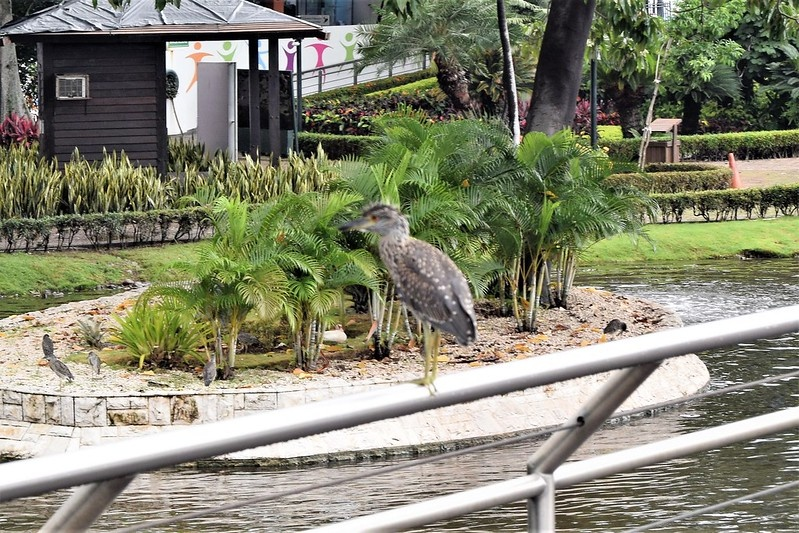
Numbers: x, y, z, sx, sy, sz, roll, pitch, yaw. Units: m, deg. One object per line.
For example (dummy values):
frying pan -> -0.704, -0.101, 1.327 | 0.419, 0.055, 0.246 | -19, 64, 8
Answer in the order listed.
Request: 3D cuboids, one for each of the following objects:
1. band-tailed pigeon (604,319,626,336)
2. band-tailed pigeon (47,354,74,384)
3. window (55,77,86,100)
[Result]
band-tailed pigeon -> 3.394, 0.948, 24.050 | 0.307, 0.187, 0.561 | 6, 10, 42
band-tailed pigeon -> -4.779, 1.474, 21.730 | 0.346, 0.401, 0.310 | -2, 8, -12
window -> -6.723, -3.699, 31.592 | 0.843, 0.534, 0.432 | 1, 10, -9
